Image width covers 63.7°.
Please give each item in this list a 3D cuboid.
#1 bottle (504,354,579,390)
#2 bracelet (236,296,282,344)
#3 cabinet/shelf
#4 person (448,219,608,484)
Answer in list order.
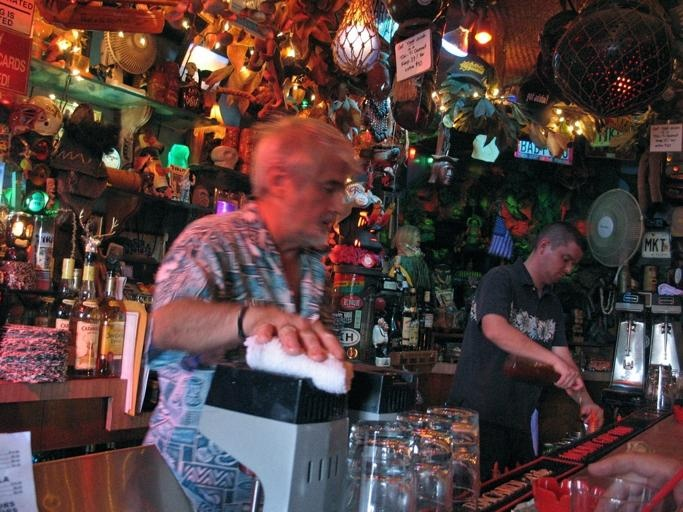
[{"bbox_3d":[0.736,0.436,2.083,0.085,0.091,0.308,14,-1,45],"label":"bottle"},{"bbox_3d":[-0.204,0.156,1.328,0.095,0.099,0.101,0,4,5],"label":"bracelet"},{"bbox_3d":[-1.185,-0.490,3.058,0.463,1.247,1.482,-6,-10,39],"label":"cabinet/shelf"},{"bbox_3d":[0.908,0.456,2.722,0.691,1.330,1.252,2,-11,6],"label":"person"}]
